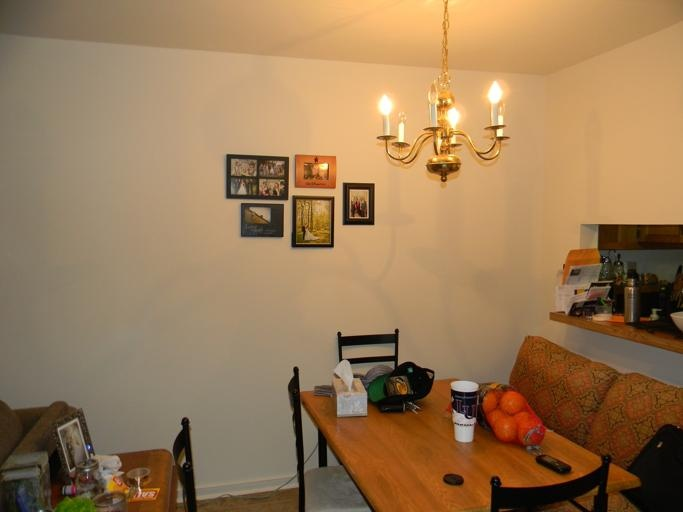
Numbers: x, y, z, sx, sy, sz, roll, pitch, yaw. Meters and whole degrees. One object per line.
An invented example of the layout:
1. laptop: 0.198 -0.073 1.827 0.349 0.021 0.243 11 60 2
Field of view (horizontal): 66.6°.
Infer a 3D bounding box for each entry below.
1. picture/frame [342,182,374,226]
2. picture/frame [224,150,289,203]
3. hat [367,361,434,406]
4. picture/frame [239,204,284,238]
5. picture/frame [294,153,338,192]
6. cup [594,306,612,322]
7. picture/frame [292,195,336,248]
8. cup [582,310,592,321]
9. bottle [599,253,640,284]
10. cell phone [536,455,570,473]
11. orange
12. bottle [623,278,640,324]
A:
1. picture/frame: 0.116 -0.410 4.027 0.296 0.400 0.041 1 6 -14
2. picture/frame: -0.655 -0.597 3.867 0.349 0.295 0.013 0 5 -10
3. hat: 0.351 0.762 3.055 0.331 0.125 0.243 -13 47 -3
4. picture/frame: -0.610 -0.267 3.878 0.225 0.215 0.026 1 0 -11
5. picture/frame: -0.210 -0.641 3.953 0.259 0.220 0.028 0 1 -17
6. cup: 1.888 0.410 3.780 0.103 0.120 0.105 9 -1 0
7. picture/frame: -0.228 -0.267 3.955 0.344 0.459 0.033 1 3 -18
8. cup: 1.789 0.440 3.772 0.041 0.045 0.045 3 -3 0
9. bottle: 2.117 0.088 4.011 0.279 0.185 0.316 12 18 41
10. cell phone: 1.002 0.985 2.470 0.059 0.028 0.108 3 3 -29
11. orange: 0.869 0.822 2.630 0.185 0.136 0.319 -2 13 -13
12. bottle: 2.006 0.307 3.588 0.111 0.307 0.172 7 15 30
